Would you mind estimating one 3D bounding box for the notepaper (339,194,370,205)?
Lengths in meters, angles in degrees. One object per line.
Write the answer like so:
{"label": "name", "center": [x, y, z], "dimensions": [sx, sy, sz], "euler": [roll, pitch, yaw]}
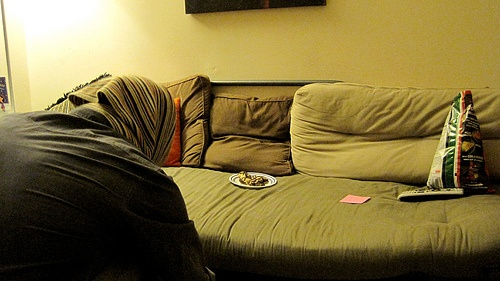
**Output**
{"label": "notepaper", "center": [0.691, 0.387, 2.540], "dimensions": [0.194, 0.015, 0.114], "euler": [4, 20, 15]}
